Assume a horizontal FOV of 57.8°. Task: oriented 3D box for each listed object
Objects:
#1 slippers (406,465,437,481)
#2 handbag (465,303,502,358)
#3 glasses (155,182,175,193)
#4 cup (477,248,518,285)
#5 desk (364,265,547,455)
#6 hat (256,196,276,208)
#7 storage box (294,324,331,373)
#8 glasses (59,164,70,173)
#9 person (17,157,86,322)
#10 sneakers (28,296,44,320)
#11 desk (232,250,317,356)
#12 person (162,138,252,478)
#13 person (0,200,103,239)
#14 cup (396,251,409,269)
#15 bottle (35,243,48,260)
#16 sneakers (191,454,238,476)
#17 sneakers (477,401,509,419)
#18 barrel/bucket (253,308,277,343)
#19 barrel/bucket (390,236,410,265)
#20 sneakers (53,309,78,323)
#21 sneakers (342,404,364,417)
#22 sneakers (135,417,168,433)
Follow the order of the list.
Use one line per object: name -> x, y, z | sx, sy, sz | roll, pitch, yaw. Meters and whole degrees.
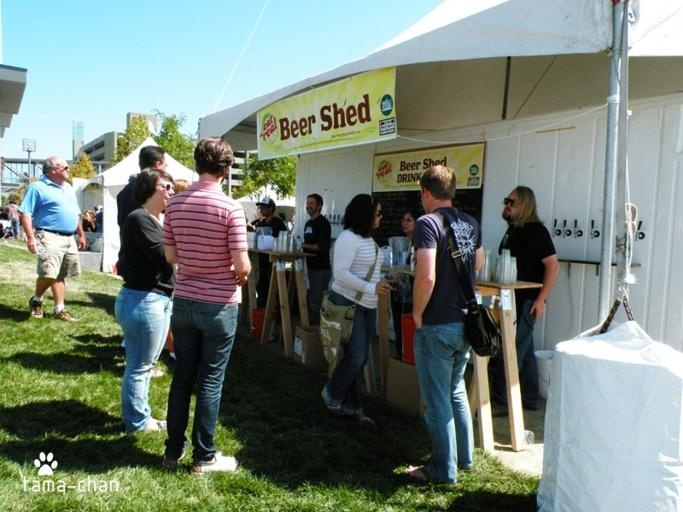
slippers -> 0.613, 1.699, 4.824 | 0.170, 0.080, 0.105 | -1, 1, 28
handbag -> 1.087, 0.552, 4.757 | 0.197, 0.416, 0.311 | -9, -10, 28
glasses -> -1.472, -0.582, 5.186 | 0.104, 0.039, 0.107 | 9, 8, 22
cup -> 1.410, 0.099, 5.589 | 0.293, 0.313, 0.308 | 1, -1, 0
desk -> 1.017, 0.936, 5.383 | 0.457, 1.358, 1.491 | 0, 1, -20
hat -> -1.032, -0.750, 8.676 | 0.221, 0.143, 0.148 | 11, -3, -24
storage box -> -0.370, 0.984, 6.975 | 0.397, 0.568, 0.546 | 1, 4, -15
glasses -> -3.215, -1.032, 7.255 | 0.062, 0.093, 0.089 | 11, 30, 19
person -> -3.350, -0.167, 7.230 | 0.696, 1.965, 0.456 | -9, 17, -44
sneakers -> -3.597, 0.621, 7.401 | 0.130, 0.179, 0.384 | 3, 11, -36
desk -> -0.659, 0.457, 7.721 | 0.484, 1.095, 1.180 | -6, 9, -13
person -> -1.013, 0.375, 4.665 | 0.605, 2.474, 0.635 | 0, 12, -17
person -> -5.183, -0.654, 11.344 | 1.475, 0.429, 1.538 | -1, 4, -45
cup -> 0.612, 0.037, 6.234 | 0.133, 0.247, 0.139 | 1, -3, 0
bottle -> -3.407, -0.061, 7.069 | 0.138, 0.170, 0.145 | 1, 2, -36
sneakers -> -0.940, 1.594, 4.689 | 0.310, 0.161, 0.132 | -3, 7, -30
sneakers -> 1.489, 1.524, 6.137 | 0.303, 0.134, 0.252 | 1, 4, 26
barrel/bucket -> -1.013, 0.913, 8.098 | 0.309, 0.391, 0.309 | 4, 0, 0
barrel/bucket -> 0.589, -0.051, 6.333 | 0.227, 0.323, 0.243 | 0, -7, 0
sneakers -> -3.372, 0.724, 7.588 | 0.334, 0.153, 0.124 | 3, 8, 32
sneakers -> 0.098, 1.435, 5.681 | 0.142, 0.060, 0.099 | 14, 0, -16
sneakers -> -1.569, 1.420, 5.170 | 0.236, 0.104, 0.083 | -2, 6, -39
